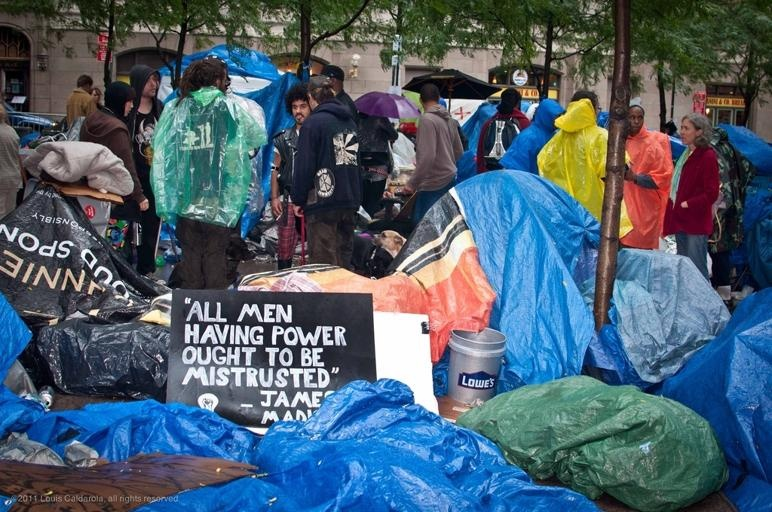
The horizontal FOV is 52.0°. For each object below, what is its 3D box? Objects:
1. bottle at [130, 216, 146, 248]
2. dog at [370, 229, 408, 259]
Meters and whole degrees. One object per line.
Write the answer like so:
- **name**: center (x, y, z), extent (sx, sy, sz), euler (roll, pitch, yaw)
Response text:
- **bottle**: center (-3.075, -0.266, 9.633), extent (0.263, 0.302, 0.144), euler (7, 7, 37)
- **dog**: center (0.076, -0.143, 9.743), extent (0.241, 0.294, 0.472), euler (0, 6, -31)
